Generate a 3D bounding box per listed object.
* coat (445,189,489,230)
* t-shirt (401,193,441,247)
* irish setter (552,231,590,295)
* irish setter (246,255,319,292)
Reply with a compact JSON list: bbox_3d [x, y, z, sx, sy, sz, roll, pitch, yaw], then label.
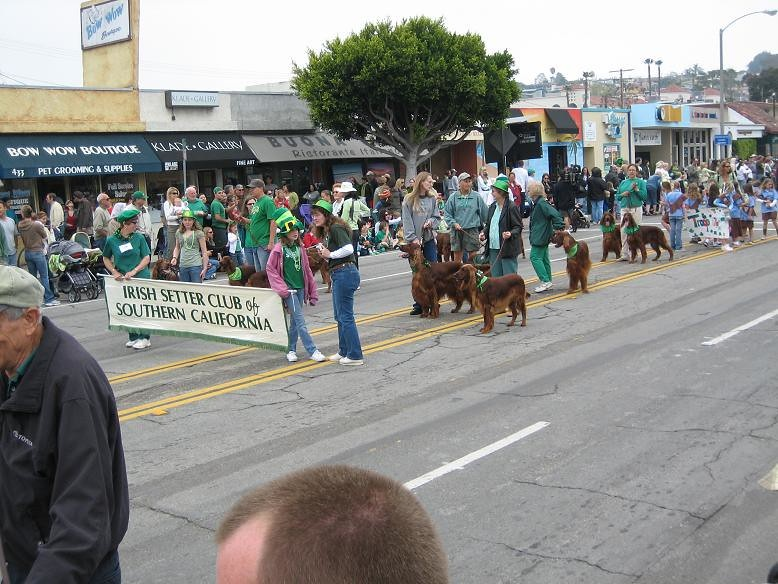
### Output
[{"bbox_3d":[1.515,-1.551,14.494,1.030,0.923,0.633,1,4,5],"label":"coat"},{"bbox_3d":[0.607,-1.290,13.342,0.845,0.870,0.363,-12,13,-42],"label":"t-shirt"},{"bbox_3d":[3.710,-0.647,14.794,0.804,1.246,0.732,5,11,19],"label":"irish setter"},{"bbox_3d":[-2.326,-0.300,13.934,1.083,0.716,0.868,-5,8,-44],"label":"irish setter"}]
